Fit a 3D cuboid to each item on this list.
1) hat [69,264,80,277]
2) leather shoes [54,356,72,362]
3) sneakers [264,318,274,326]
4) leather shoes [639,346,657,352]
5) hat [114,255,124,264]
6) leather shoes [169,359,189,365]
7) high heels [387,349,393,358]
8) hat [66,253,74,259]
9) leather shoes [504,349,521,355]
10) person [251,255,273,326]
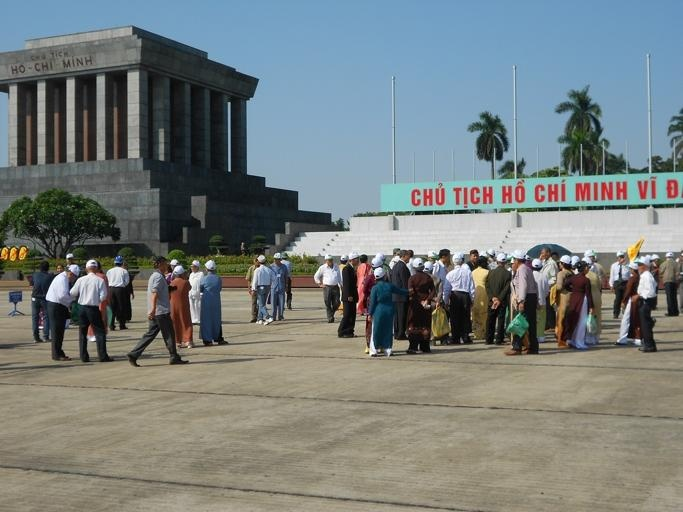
[{"bbox_3d":[-7.673,0.393,35.559,0.224,0.308,0.305,3,41,-22],"label":"hat"},{"bbox_3d":[-7.169,2.586,31.980,0.430,0.104,0.275,0,-1,-39],"label":"leather shoes"},{"bbox_3d":[-2.273,1.994,38.396,0.202,0.218,0.557,-4,0,-16],"label":"sneakers"},{"bbox_3d":[7.882,2.338,31.862,0.436,0.180,0.146,4,2,27],"label":"leather shoes"},{"bbox_3d":[-6.728,0.111,37.448,0.242,0.233,0.411,4,16,-10],"label":"hat"},{"bbox_3d":[-4.099,2.623,31.254,0.478,0.201,0.158,-2,-2,-4],"label":"leather shoes"},{"bbox_3d":[1.233,2.469,32.072,0.182,0.146,0.258,-1,-7,2],"label":"high heels"},{"bbox_3d":[-9.331,-0.017,42.556,0.248,0.179,0.350,1,-12,-17],"label":"hat"},{"bbox_3d":[4.423,2.449,31.958,0.392,0.159,0.144,6,-2,5],"label":"leather shoes"},{"bbox_3d":[-2.484,1.026,38.784,0.660,2.082,1.079,-1,-1,-4],"label":"person"}]
